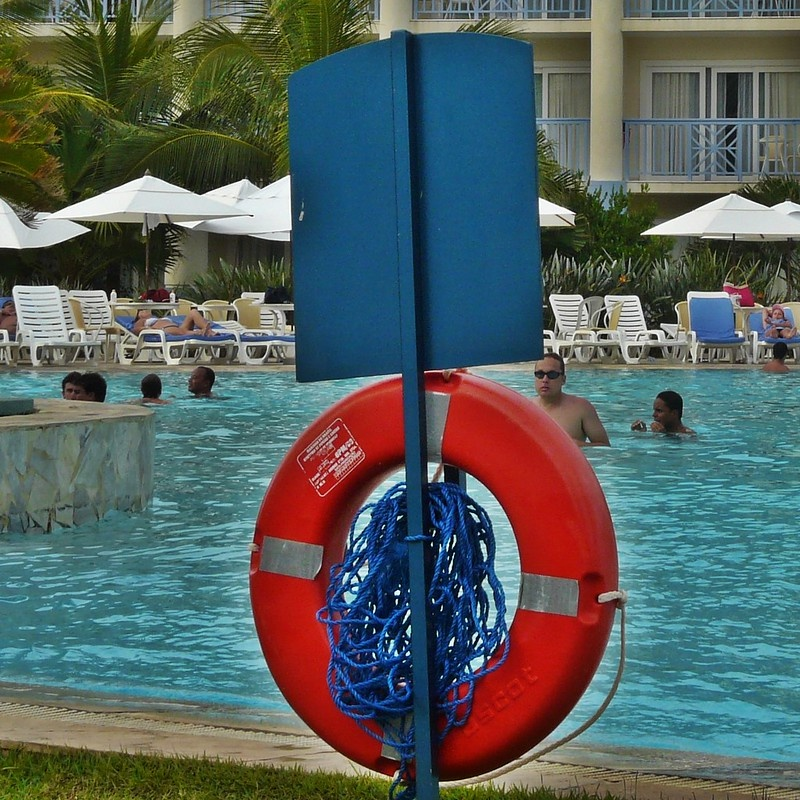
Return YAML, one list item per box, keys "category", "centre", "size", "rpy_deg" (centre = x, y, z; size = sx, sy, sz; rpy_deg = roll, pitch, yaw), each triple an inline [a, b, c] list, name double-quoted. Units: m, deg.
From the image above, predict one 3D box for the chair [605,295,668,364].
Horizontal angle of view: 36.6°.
- category: "chair"
  centre: [3.473, -1.043, 17.671]
  size: [0.650, 1.039, 1.236]
  rpy_deg: [2, 1, -16]

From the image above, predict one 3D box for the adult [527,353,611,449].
- category: "adult"
  centre: [1.328, -0.010, 9.244]
  size: [0.736, 0.795, 0.476]
  rpy_deg: [-5, 6, 14]

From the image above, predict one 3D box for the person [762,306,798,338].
- category: "person"
  centre: [5.533, -1.128, 17.752]
  size: [0.285, 0.319, 0.799]
  rpy_deg: [-3, 22, 6]

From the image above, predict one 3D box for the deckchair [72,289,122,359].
- category: "deckchair"
  centre: [-4.606, -1.098, 18.245]
  size: [0.682, 0.877, 0.664]
  rpy_deg: [-23, -5, 30]

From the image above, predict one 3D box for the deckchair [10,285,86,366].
- category: "deckchair"
  centre: [-4.655, -1.019, 16.337]
  size: [0.800, 1.139, 1.167]
  rpy_deg: [-4, 5, -42]

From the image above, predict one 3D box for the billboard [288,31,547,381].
- category: "billboard"
  centre: [0.026, -0.476, 2.951]
  size: [0.600, 0.911, 0.096]
  rpy_deg: [-6, 33, -3]

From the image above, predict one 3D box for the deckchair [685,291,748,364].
- category: "deckchair"
  centre: [4.484, -1.066, 17.177]
  size: [0.756, 1.160, 0.999]
  rpy_deg: [-2, -1, 14]

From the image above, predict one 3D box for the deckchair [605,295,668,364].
- category: "deckchair"
  centre: [3.470, -1.058, 17.661]
  size: [0.693, 1.113, 1.343]
  rpy_deg: [-1, -2, -11]

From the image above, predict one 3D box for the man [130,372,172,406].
- category: "man"
  centre: [-2.522, -0.112, 12.311]
  size: [0.332, 0.295, 0.593]
  rpy_deg: [5, 7, 35]

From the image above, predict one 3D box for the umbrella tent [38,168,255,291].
- category: "umbrella tent"
  centre: [-3.551, -2.491, 17.250]
  size: [2.006, 1.510, 2.164]
  rpy_deg: [-4, 7, -36]

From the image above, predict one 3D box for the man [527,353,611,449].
- category: "man"
  centre: [1.328, -0.010, 9.244]
  size: [0.736, 0.795, 0.476]
  rpy_deg: [-5, 6, 14]

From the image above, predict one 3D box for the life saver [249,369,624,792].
- category: "life saver"
  centre: [0.057, 0.415, 3.008]
  size: [0.902, 0.998, 0.232]
  rpy_deg: [-4, -11, 17]

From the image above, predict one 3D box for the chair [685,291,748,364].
- category: "chair"
  centre: [4.480, -1.067, 17.179]
  size: [0.670, 1.163, 0.938]
  rpy_deg: [-2, 0, 2]

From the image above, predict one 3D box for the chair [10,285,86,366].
- category: "chair"
  centre: [-4.653, -1.016, 16.332]
  size: [0.788, 1.145, 1.189]
  rpy_deg: [-4, 4, -38]
